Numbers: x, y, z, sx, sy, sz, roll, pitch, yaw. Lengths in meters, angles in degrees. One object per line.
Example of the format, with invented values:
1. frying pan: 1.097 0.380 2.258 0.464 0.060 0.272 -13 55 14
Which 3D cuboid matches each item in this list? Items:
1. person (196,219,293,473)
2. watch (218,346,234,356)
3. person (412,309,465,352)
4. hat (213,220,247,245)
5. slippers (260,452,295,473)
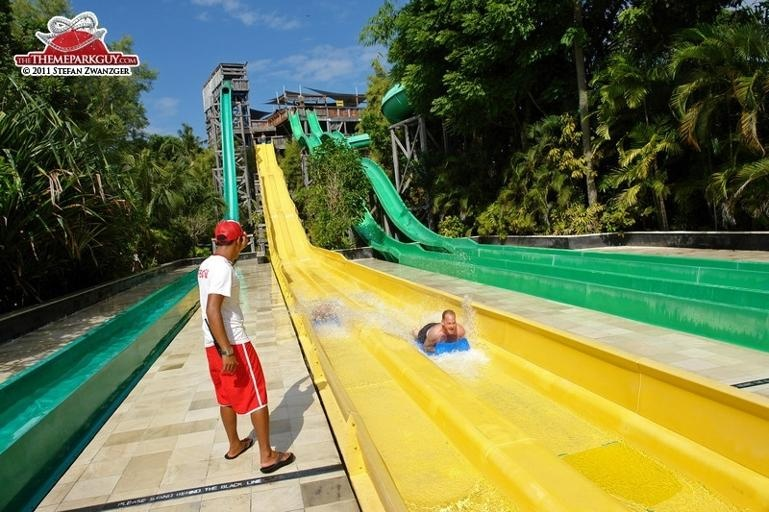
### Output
1. person: -1.113 0.657 3.374 0.485 1.839 0.694 -8 8 -23
2. watch: -1.098 0.664 3.051 0.070 0.043 0.053 -5 -4 39
3. person: 0.635 0.884 4.889 0.406 0.485 0.826 -4 -7 -8
4. hat: -1.150 -0.164 3.277 0.150 0.120 0.230 1 21 7
5. slippers: -0.782 1.533 3.253 0.200 0.071 0.109 -12 10 -36
